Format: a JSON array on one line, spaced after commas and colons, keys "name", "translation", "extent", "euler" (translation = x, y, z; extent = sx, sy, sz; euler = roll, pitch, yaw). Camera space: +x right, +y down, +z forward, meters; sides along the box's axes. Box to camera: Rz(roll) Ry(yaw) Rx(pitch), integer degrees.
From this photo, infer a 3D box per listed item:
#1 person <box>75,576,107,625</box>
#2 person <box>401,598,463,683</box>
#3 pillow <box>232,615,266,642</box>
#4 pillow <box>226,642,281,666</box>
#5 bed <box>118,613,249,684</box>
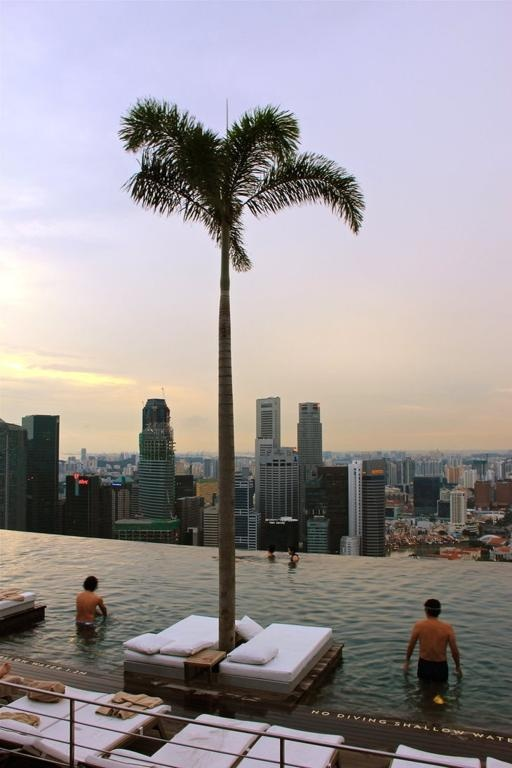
[{"name": "person", "translation": [-2.963, 3.808, 12.846], "extent": [0.487, 0.797, 0.796], "euler": [-1, -5, 0]}, {"name": "person", "translation": [2.422, 3.795, 9.897], "extent": [0.828, 1.642, 0.491], "euler": [1, 0, 19]}, {"name": "pillow", "translation": [-0.121, 3.500, 10.336], "extent": [0.297, 0.083, 0.294], "euler": [28, 23, 5]}, {"name": "pillow", "translation": [-0.038, 3.483, 9.324], "extent": [0.546, 0.132, 0.559], "euler": [-3, -5, 22]}, {"name": "bed", "translation": [-0.985, 3.569, 10.085], "extent": [0.842, 0.346, 1.365], "euler": [-2, -4, 21]}]
